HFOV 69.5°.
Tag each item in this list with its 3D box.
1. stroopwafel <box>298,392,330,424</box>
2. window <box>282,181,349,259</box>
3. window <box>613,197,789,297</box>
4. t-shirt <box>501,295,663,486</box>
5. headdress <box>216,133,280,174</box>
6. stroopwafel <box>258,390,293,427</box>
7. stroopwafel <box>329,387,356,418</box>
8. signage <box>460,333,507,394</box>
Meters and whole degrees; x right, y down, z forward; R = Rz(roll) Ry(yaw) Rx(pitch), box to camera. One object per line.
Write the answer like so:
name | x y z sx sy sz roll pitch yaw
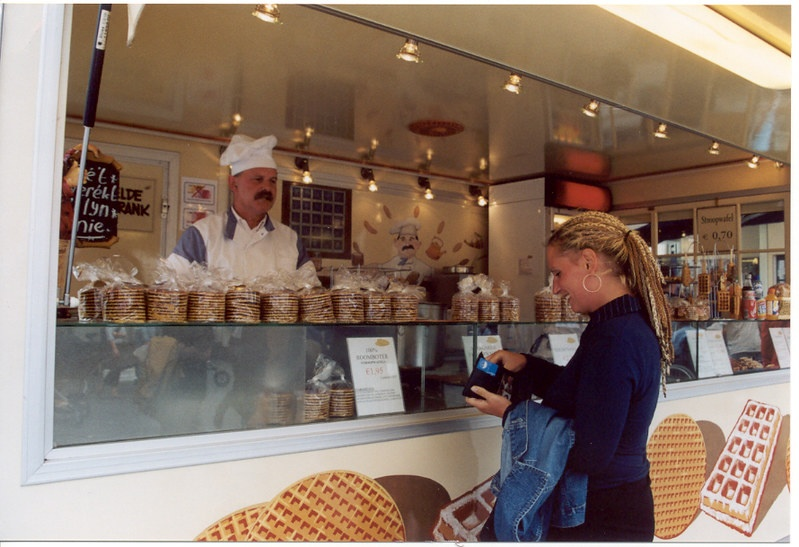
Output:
stroopwafel | -0.373 0.590 2.538 0.126 0.103 0.127 5 -7 -34
window | -0.968 -0.603 6.462 1.134 1.047 0.083 3 -6 -38
window | 3.012 -0.266 5.434 1.251 0.728 0.061 2 4 43
t-shirt | 0.797 0.413 2.685 0.712 0.806 0.885 7 1 22
headdress | -0.965 -0.759 3.659 0.314 0.223 0.262 13 23 19
stroopwafel | -0.535 0.576 2.475 0.137 0.124 0.150 1 -12 -5
stroopwafel | -0.257 0.586 2.652 0.134 0.120 0.128 1 -2 6
signage | 0.397 0.438 2.758 0.310 0.355 0.042 5 -18 -15
